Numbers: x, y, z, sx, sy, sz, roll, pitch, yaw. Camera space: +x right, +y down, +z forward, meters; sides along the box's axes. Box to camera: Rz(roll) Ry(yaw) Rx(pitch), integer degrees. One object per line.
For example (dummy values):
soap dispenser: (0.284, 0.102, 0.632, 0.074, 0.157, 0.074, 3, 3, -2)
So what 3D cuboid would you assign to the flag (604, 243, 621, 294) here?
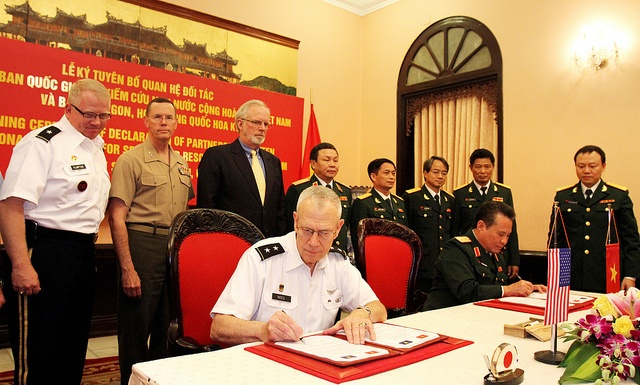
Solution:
flag: (2.264, 0.588, 3.864, 0.094, 0.397, 0.146, 3, 0, 29)

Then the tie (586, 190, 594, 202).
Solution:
tie: (2.737, 0.034, 5.062, 0.062, 0.107, 0.025, -7, -23, 36)

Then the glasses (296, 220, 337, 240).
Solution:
glasses: (-0.029, 0.256, 3.171, 0.234, 0.081, 0.063, 3, 0, 4)

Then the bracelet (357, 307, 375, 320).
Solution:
bracelet: (0.286, 0.761, 3.196, 0.090, 0.089, 0.060, 13, 43, 31)
